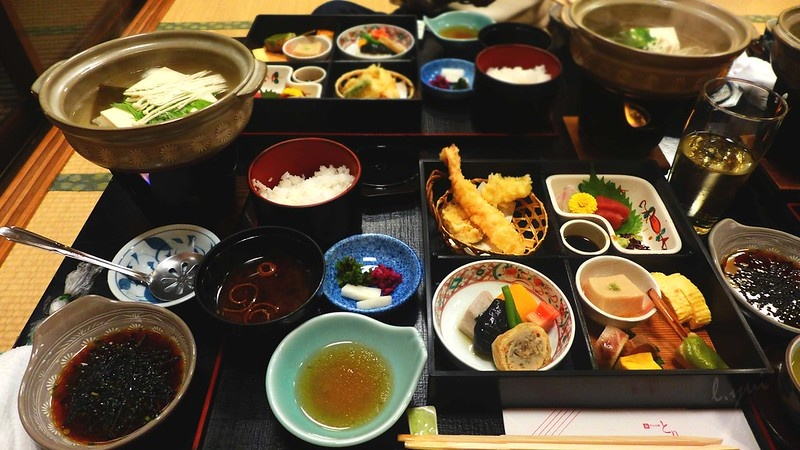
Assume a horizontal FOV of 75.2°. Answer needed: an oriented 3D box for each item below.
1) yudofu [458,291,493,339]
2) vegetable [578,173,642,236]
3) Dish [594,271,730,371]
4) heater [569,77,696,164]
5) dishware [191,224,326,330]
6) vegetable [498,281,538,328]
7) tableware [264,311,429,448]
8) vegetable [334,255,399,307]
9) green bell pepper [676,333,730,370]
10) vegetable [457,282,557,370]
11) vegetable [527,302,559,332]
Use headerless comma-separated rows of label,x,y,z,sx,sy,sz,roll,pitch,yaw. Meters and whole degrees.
yudofu,0.468,0.540,3.234,0.077,0.278,0.259,32,112,13
vegetable,1.501,-0.131,3.802,0.340,0.111,0.468,-37,83,-6
Dish,1.575,0.619,3.245,0.504,0.152,0.703,-9,54,-23
heater,1.744,-0.758,3.997,0.877,0.897,0.664,2,93,19
dishware,-0.851,0.300,3.195,0.743,0.176,0.559,-27,65,-15
vegetable,0.719,0.487,3.254,0.240,0.201,0.224,-21,53,-15
tableware,-0.331,0.880,3.004,0.847,0.198,0.747,15,62,7
vegetable,-0.207,0.375,3.321,0.352,0.149,0.327,-8,50,-29
green bell pepper,1.790,0.778,3.142,0.163,0.110,0.280,-40,56,-14
vegetable,0.683,0.613,3.219,0.599,0.164,0.557,-22,68,-15
vegetable,0.878,0.587,3.213,0.201,0.188,0.050,6,100,40
